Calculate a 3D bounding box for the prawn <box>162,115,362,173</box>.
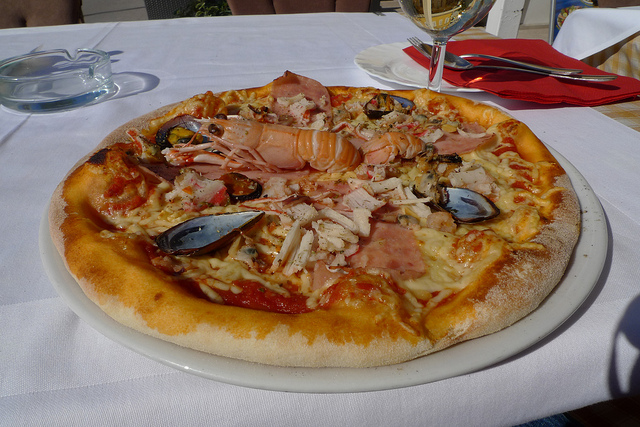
[{"bbox_3d":[-0.230,-0.271,2.253,0.795,0.153,0.342,5,13,13],"label":"prawn"}]
